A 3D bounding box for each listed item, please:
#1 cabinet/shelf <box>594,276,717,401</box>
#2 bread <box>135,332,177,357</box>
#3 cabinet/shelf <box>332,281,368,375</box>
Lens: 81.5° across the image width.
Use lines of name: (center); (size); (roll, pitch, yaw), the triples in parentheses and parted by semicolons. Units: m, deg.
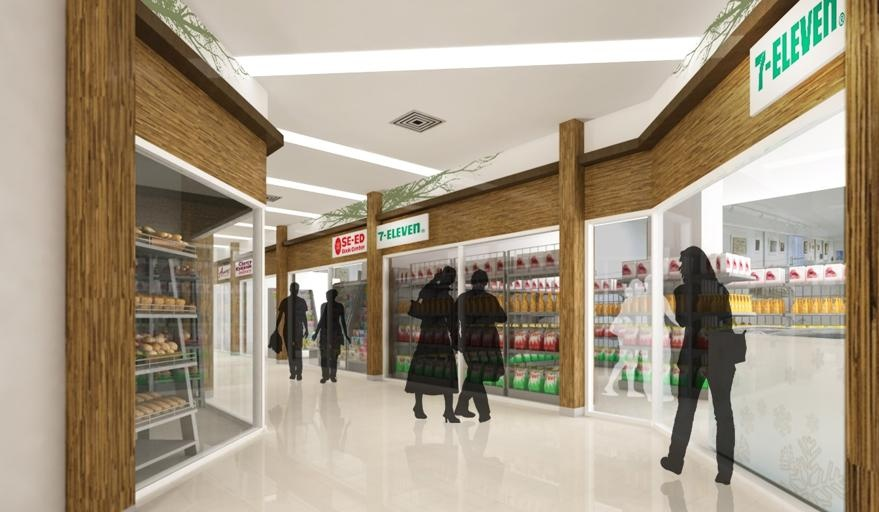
cabinet/shelf: (3.064, 1.166, 7.149); (0.772, 2.027, 2.118); (1, -1, -37)
bread: (-3.160, 0.995, 5.739); (0.049, 0.224, 0.512); (-1, -1, 21)
cabinet/shelf: (-2.124, 1.709, 12.451); (0.293, 2.056, 1.113); (-1, 0, -34)
